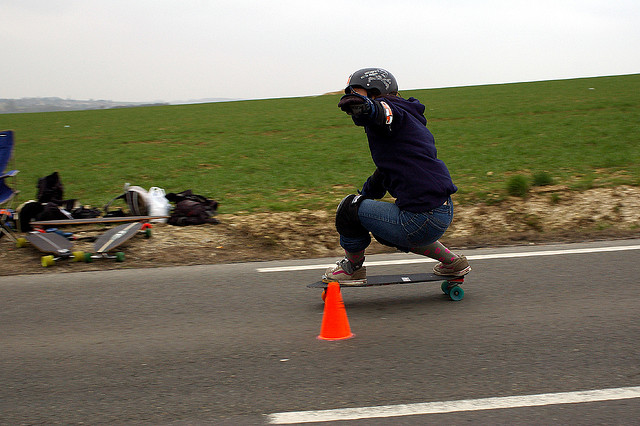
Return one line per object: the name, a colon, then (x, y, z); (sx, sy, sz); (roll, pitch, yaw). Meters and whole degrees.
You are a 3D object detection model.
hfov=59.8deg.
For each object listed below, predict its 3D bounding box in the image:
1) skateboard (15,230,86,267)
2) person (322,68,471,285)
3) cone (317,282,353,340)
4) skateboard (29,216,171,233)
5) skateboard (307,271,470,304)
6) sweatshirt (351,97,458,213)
skateboard: (-3.683, 0.434, 7.529); (0.506, 0.146, 0.750); (-24, 43, -38)
person: (0.723, -0.352, 5.623); (1.398, 2.214, 0.739); (-7, 13, -1)
cone: (0.142, 0.895, 5.120); (0.302, 0.484, 0.350); (-1, 13, 23)
skateboard: (-3.317, 0.118, 8.417); (2.439, 0.155, 0.469); (-2, 5, -11)
skateboard: (0.765, 0.780, 5.835); (1.625, 0.145, 0.318); (-4, 8, 3)
sweatshirt: (0.906, -0.590, 5.572); (0.818, 1.148, 0.647); (-4, 13, 9)
